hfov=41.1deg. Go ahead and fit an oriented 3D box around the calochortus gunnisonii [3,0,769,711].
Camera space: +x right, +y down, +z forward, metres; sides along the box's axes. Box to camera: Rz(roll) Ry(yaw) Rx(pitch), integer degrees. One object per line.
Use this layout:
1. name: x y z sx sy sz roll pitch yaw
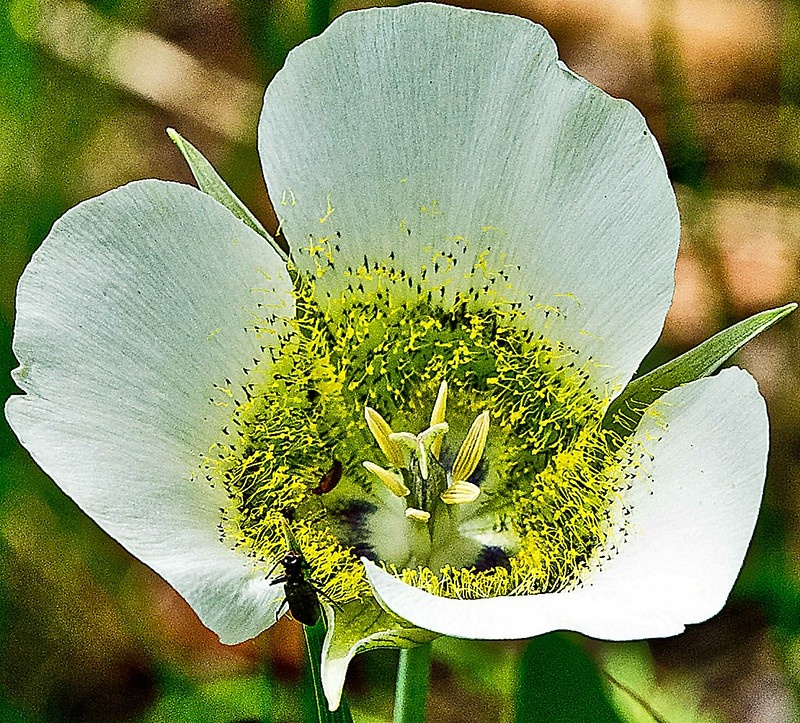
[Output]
1. calochortus gunnisonii: -0.053 0.127 1.704 0.939 0.407 0.965 29 59 7
